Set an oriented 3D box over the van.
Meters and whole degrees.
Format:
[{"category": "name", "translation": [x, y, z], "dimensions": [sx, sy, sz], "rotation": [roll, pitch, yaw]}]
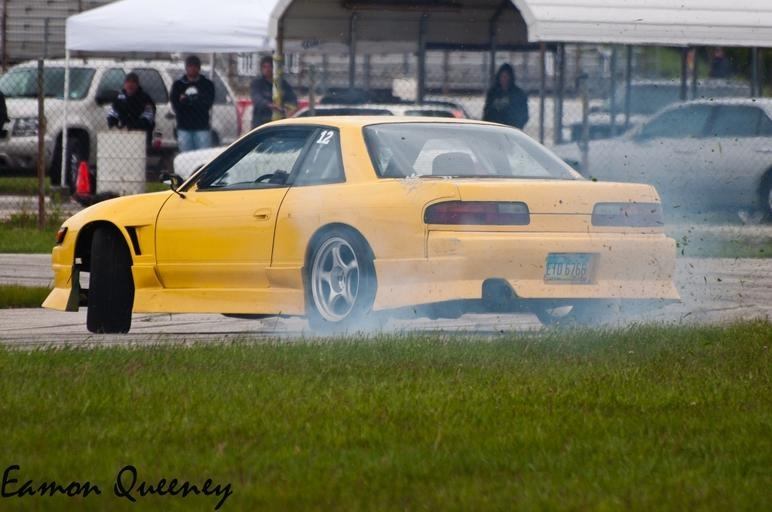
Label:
[{"category": "van", "translation": [-4.327, -2.123, 26.959], "dimensions": [3.423, 1.646, 1.941], "rotation": [-1, 6, -21]}]
